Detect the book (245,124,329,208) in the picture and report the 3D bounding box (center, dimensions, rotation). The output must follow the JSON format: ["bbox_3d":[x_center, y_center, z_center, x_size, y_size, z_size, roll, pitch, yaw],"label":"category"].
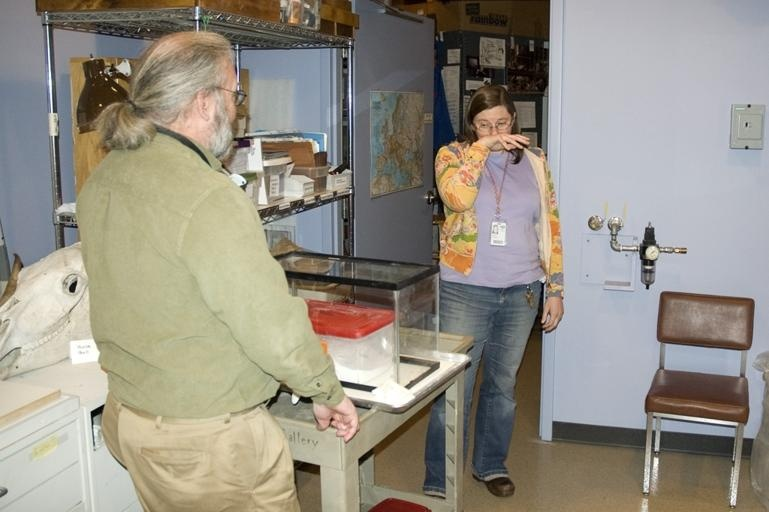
[{"bbox_3d":[-0.563,-0.517,3.338,0.365,0.238,0.511,-8,14,-31],"label":"book"}]

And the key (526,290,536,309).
[{"bbox_3d":[0.773,0.229,3.208,0.050,0.086,0.022,-7,2,-17],"label":"key"}]

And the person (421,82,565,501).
[{"bbox_3d":[0.590,0.237,3.327,0.814,2.269,0.380,-6,13,-26],"label":"person"}]

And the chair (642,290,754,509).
[{"bbox_3d":[1.818,0.798,3.499,0.543,1.090,0.631,6,13,26],"label":"chair"}]

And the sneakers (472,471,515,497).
[{"bbox_3d":[0.657,1.312,3.478,0.110,0.056,0.175,-14,18,-39],"label":"sneakers"}]

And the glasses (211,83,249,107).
[{"bbox_3d":[-0.521,-0.544,2.043,0.112,0.038,0.111,5,5,11],"label":"glasses"}]
